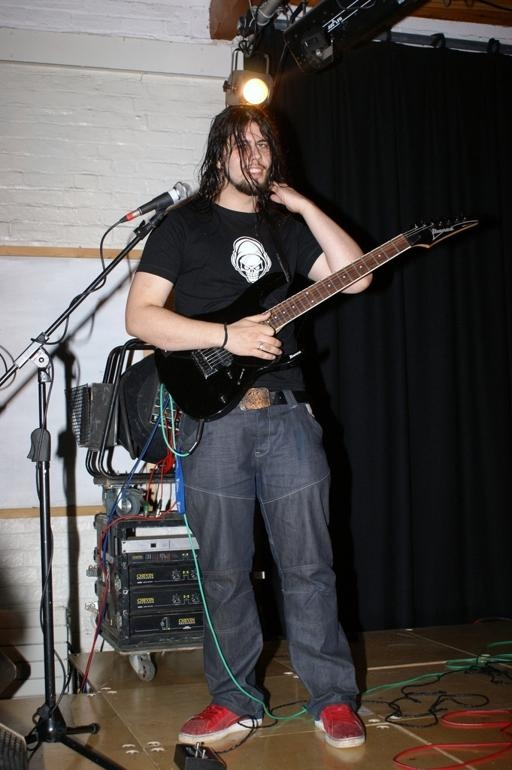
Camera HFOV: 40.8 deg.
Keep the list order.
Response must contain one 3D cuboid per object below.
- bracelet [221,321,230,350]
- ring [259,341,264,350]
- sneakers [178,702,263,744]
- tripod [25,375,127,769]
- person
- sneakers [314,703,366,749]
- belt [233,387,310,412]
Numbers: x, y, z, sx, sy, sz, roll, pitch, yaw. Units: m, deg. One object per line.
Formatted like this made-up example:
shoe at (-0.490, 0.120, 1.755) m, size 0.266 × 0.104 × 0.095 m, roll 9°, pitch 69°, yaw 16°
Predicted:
bracelet at (-0.071, -0.113, 1.623) m, size 0.012 × 0.045 × 0.034 m, roll 3°, pitch 11°, yaw -17°
ring at (0.015, -0.090, 1.621) m, size 0.011 × 0.015 × 0.004 m, roll 9°, pitch 15°, yaw -7°
sneakers at (-0.094, 0.836, 1.705) m, size 0.215 × 0.077 × 0.080 m, roll 11°, pitch -19°, yaw -26°
tripod at (-0.471, 0.430, 1.742) m, size 0.181 × 0.943 × 0.455 m, roll 4°, pitch -10°, yaw -35°
person at (-0.004, 0.051, 1.761) m, size 0.645 × 1.641 × 0.339 m, roll 0°, pitch -8°, yaw -10°
sneakers at (0.211, 0.801, 1.607) m, size 0.065 × 0.048 × 0.123 m, roll 0°, pitch 0°, yaw -11°
belt at (0.041, 0.030, 1.719) m, size 0.100 × 0.026 × 0.070 m, roll -2°, pitch -39°, yaw -15°
